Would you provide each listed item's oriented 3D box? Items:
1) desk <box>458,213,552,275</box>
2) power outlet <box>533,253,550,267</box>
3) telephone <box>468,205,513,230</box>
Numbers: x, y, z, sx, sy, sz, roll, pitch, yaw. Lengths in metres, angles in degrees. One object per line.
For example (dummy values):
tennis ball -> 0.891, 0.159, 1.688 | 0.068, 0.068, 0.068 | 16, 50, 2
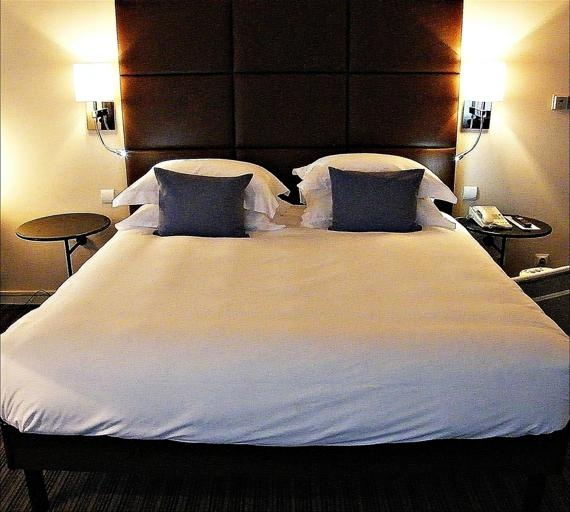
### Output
desk -> 1.369, -0.042, 3.382 | 0.561, 0.273, 0.425 | -1, 25, 3
power outlet -> 1.735, 0.026, 3.634 | 0.120, 0.074, 0.097 | 2, 12, 13
telephone -> 1.237, -0.240, 3.253 | 0.184, 0.052, 0.184 | 1, 20, 3
